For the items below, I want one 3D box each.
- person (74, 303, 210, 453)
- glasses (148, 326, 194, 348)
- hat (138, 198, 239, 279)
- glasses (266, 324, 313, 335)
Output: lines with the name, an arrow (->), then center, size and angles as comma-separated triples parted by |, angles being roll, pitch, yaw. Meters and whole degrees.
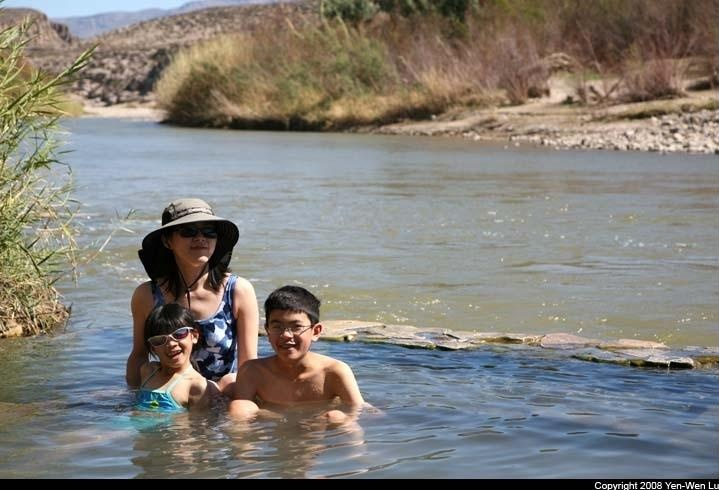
person -> -2.040, 1.188, 10.038 | 1.082, 1.138, 1.298 | 8, 3, 31
glasses -> -1.858, 0.886, 10.093 | 0.436, 0.197, 0.098 | -1, 6, -1
hat -> -1.734, -0.275, 10.393 | 0.830, 0.382, 0.830 | -8, -15, -25
glasses -> -0.680, 0.820, 9.984 | 0.427, 0.088, 0.077 | -1, 5, 1
